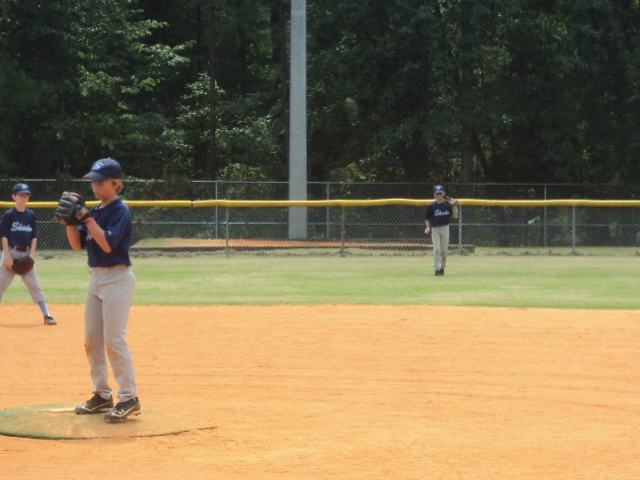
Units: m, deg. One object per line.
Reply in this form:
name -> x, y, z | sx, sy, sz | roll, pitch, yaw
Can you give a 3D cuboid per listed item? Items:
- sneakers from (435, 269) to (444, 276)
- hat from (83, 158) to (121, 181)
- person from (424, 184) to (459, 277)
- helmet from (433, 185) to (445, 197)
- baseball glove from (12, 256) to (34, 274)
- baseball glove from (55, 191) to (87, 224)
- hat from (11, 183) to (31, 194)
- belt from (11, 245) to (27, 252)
sneakers -> 3.333, 0.889, 33.772 | 0.144, 0.207, 0.219 | -1, -3, -8
hat -> -3.824, -1.232, 21.252 | 0.601, 0.313, 0.395 | 6, 3, -22
person -> 3.296, -0.259, 33.829 | 0.666, 2.529, 0.822 | 1, 10, 4
helmet -> 3.318, -1.424, 33.708 | 0.425, 0.295, 0.580 | 0, -5, 7
baseball glove -> -6.466, 0.521, 26.200 | 0.360, 0.183, 0.450 | -11, 4, -28
baseball glove -> -4.377, -0.584, 21.355 | 0.447, 0.512, 0.586 | -34, 9, 4
hat -> -6.470, -1.104, 26.004 | 0.341, 0.216, 0.384 | -6, 11, -32
belt -> -6.570, 0.195, 26.409 | 0.380, 0.154, 0.062 | -5, 11, -28
